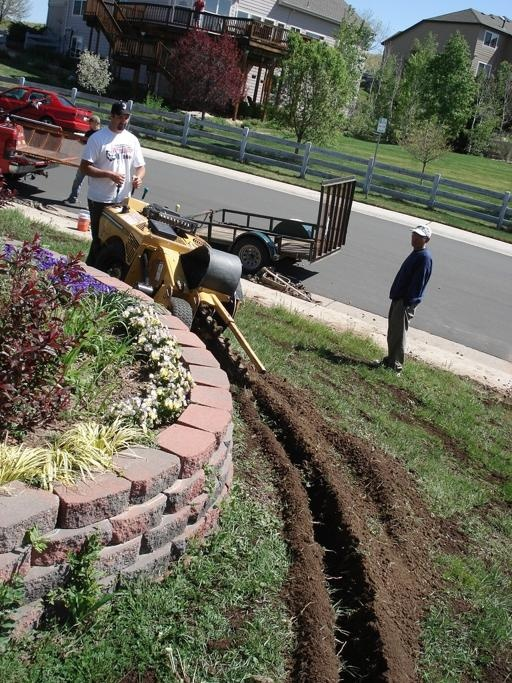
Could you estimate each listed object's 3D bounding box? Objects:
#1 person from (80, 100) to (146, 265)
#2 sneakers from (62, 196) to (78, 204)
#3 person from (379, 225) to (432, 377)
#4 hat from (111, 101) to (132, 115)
[{"bbox_3d":[-1.578,-1.665,5.919,0.796,1.917,0.597,-13,35,-35],"label":"person"},{"bbox_3d":[-4.490,-3.406,12.547,0.418,0.269,0.143,7,22,12],"label":"sneakers"},{"bbox_3d":[2.096,-0.597,7.246,0.445,1.998,0.716,14,15,7],"label":"person"},{"bbox_3d":[-1.421,-2.409,5.408,0.169,0.154,0.297,7,16,-18],"label":"hat"}]
